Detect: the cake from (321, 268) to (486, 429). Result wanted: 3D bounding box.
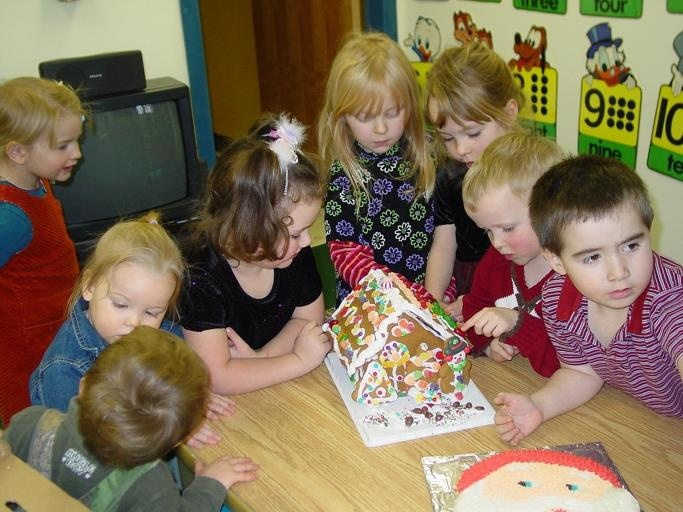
[{"bbox_3d":[0.158,0.243,1.445,0.282,0.146,0.370,-29,62,-10],"label":"cake"}]

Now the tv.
[{"bbox_3d":[-0.953,-0.426,2.490,0.567,0.581,0.309,-23,39,-36],"label":"tv"}]
